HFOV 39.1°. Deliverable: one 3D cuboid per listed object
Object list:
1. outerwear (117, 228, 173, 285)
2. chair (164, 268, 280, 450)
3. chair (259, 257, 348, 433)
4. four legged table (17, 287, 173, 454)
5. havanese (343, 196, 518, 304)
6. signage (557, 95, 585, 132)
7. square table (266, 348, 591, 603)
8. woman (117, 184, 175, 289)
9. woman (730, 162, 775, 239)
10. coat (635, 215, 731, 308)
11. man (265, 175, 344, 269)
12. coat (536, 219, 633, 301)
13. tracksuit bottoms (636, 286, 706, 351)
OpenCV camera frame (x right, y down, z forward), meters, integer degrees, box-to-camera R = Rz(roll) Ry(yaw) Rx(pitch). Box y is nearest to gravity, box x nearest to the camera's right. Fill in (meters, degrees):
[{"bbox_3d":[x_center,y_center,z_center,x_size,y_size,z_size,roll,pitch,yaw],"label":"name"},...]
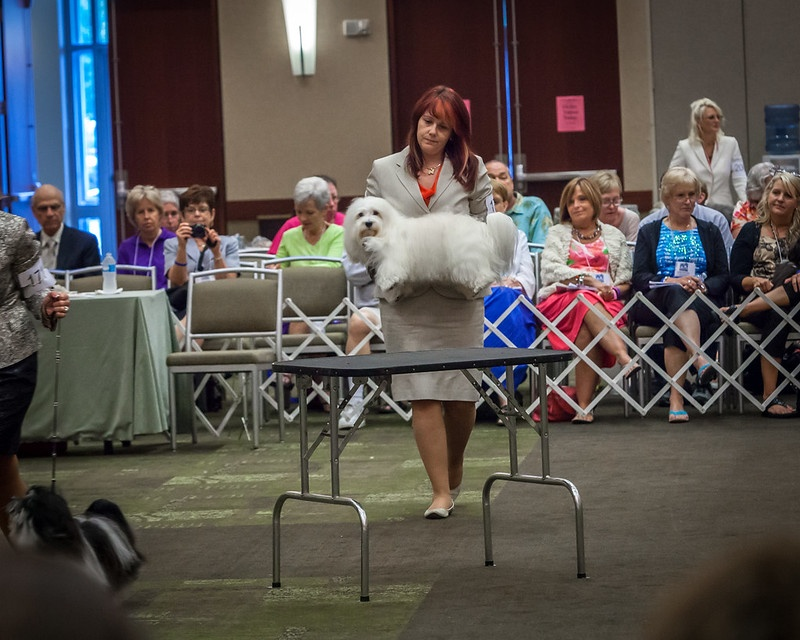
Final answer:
[{"bbox_3d":[-1.776,-0.439,7.907,0.393,0.438,0.238,-4,-11,-2],"label":"outerwear"},{"bbox_3d":[-1.027,0.200,6.556,0.688,0.979,0.723,0,2,31],"label":"chair"},{"bbox_3d":[-0.559,0.158,7.127,0.518,0.910,0.538,-5,31,-1],"label":"chair"},{"bbox_3d":[-1.663,0.267,6.271,0.814,0.619,0.824,0,1,1],"label":"four legged table"},{"bbox_3d":[0.116,-0.284,4.472,0.686,0.402,0.348,-1,-7,4],"label":"havanese"},{"bbox_3d":[1.575,-1.923,10.346,0.324,0.332,0.077,1,1,8],"label":"signage"},{"bbox_3d":[0.114,0.477,4.121,1.093,0.789,1.093,-2,7,7],"label":"square table"},{"bbox_3d":[-1.816,-0.579,8.214,0.485,0.777,0.419,-1,-5,-6],"label":"woman"},{"bbox_3d":[2.359,-0.647,7.507,0.259,0.793,0.224,14,-28,-9],"label":"woman"},{"bbox_3d":[1.773,-0.331,7.127,0.572,0.710,0.392,1,-10,7],"label":"coat"},{"bbox_3d":[-0.586,-0.633,7.590,0.517,0.631,0.405,4,6,23],"label":"man"},{"bbox_3d":[1.177,-0.426,7.206,0.616,0.499,0.335,-4,-3,-3],"label":"coat"},{"bbox_3d":[1.644,-0.020,6.863,0.518,0.400,0.309,-1,7,17],"label":"tracksuit bottoms"}]
